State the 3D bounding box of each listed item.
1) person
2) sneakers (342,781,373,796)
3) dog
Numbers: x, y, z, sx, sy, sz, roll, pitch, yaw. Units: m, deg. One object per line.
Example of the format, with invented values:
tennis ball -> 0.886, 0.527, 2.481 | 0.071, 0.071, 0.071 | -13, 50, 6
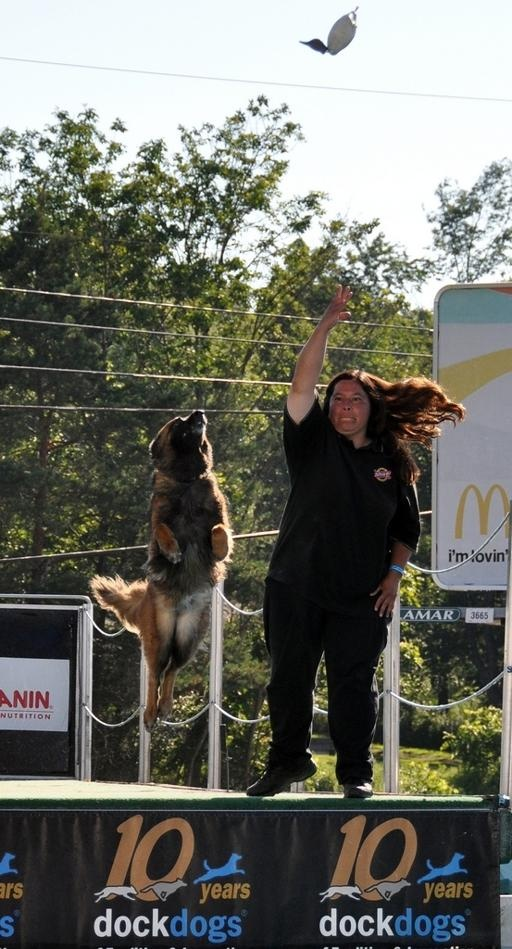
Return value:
person -> 0.445, 0.338, 10.605 | 0.923, 2.450, 0.520 | 1, -4, -9
sneakers -> 0.514, 1.523, 10.425 | 0.142, 0.058, 0.121 | 0, -5, -1
dog -> -0.803, 0.578, 13.942 | 0.649, 2.184, 1.220 | 8, -8, -17
